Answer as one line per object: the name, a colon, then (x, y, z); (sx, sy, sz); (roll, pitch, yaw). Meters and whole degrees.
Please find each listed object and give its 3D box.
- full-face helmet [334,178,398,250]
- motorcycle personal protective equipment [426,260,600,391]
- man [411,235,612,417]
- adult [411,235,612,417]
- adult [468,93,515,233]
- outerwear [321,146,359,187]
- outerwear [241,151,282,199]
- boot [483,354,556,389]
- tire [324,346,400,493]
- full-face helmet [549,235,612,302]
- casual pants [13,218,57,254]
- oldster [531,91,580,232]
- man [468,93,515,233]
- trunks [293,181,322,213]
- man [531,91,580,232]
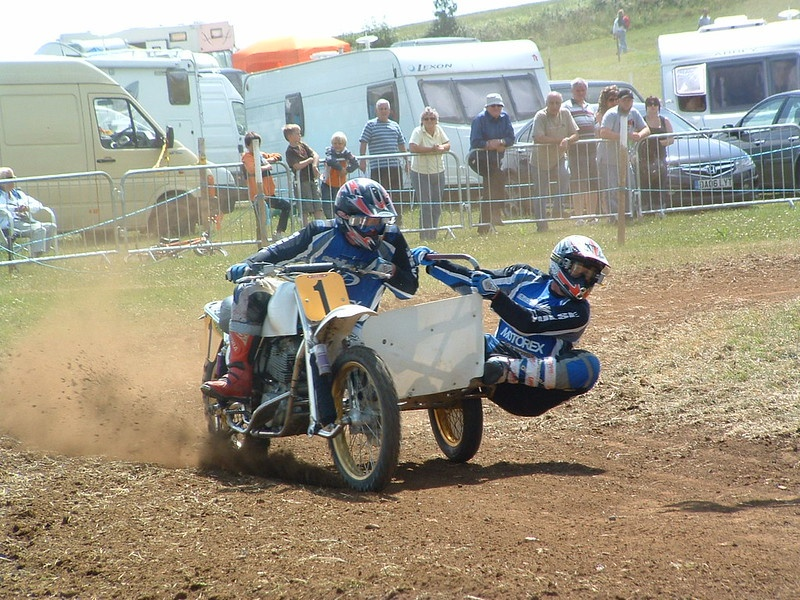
full-face helmet: (-0.290, -0.749, 8.527); (0.603, 0.558, 0.466); (18, 23, 34)
motorcycle personal protective equipment: (1.136, 0.279, 8.515); (1.702, 0.899, 1.045); (19, -7, 14)
man: (1.035, 0.326, 8.956); (1.387, 1.422, 1.672); (4, -11, -43)
adult: (1.181, 0.194, 8.563); (1.387, 1.422, 1.672); (4, -11, -43)
adult: (1.516, -2.265, 16.614); (0.755, 2.098, 0.340); (-4, 8, 4)
outerwear: (-0.999, -2.070, 15.948); (0.523, 0.668, 0.453); (1, 3, -39)
outerwear: (-2.355, -2.018, 16.046); (0.218, 0.870, 0.899); (-5, 3, 25)
boot: (0.997, 0.594, 8.332); (0.467, 0.282, 0.203); (1, 11, -10)
tire: (-0.287, 0.930, 7.929); (0.373, 1.134, 0.689); (-7, 8, -23)
full-face helmet: (1.482, -0.264, 8.484); (0.429, 0.489, 0.561); (10, 1, -18)
casual pants: (-5.451, -0.949, 15.197); (0.495, 0.582, 0.455); (-4, -1, 18)
oldster: (2.555, -2.286, 16.697); (0.787, 2.237, 0.531); (-3, 8, 7)
man: (1.516, -2.265, 16.614); (0.755, 2.098, 0.340); (-4, 8, 4)
trunks: (-1.500, -1.652, 16.240); (0.437, 0.606, 0.329); (-1, -31, -23)
man: (2.554, -2.287, 16.704); (0.784, 2.237, 0.520); (-3, 8, 8)
